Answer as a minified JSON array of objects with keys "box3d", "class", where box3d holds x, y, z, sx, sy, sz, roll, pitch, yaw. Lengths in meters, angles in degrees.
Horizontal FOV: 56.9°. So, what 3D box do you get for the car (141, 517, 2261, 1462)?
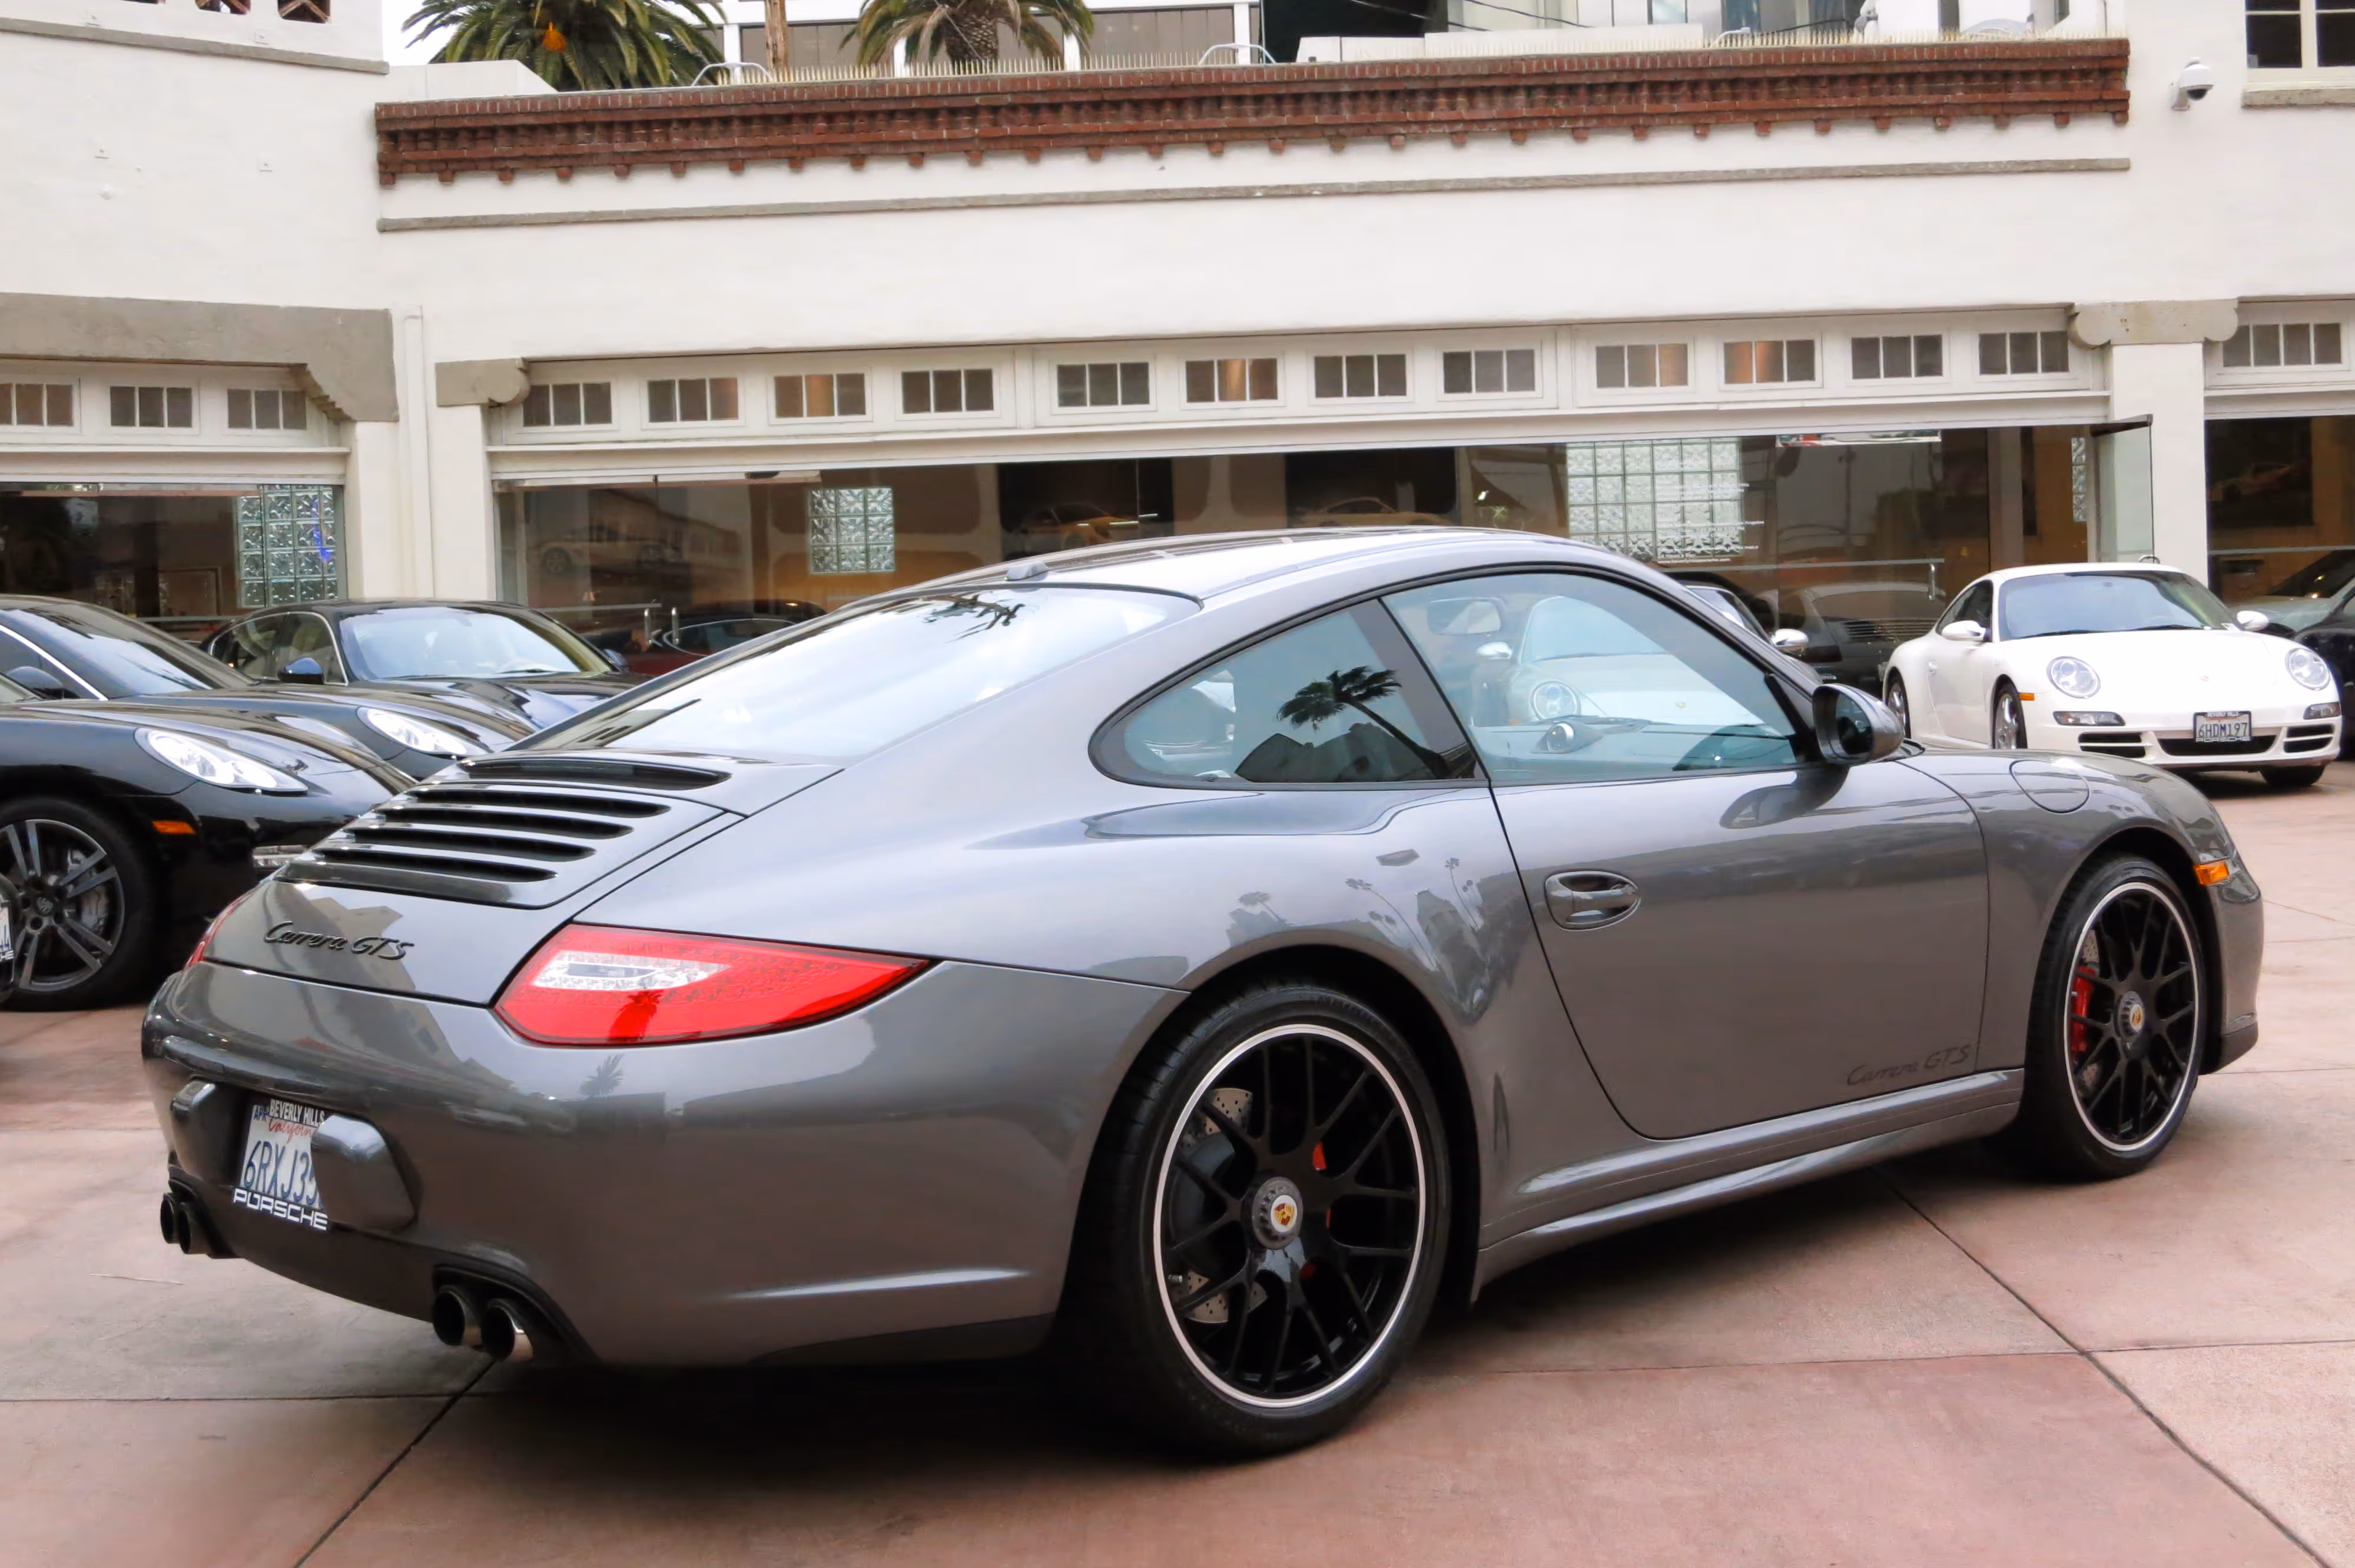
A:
[{"box3d":[0.226,0.289,5.629,4.658,1.326,2.259,-6,7,-32],"class":"car"}]
